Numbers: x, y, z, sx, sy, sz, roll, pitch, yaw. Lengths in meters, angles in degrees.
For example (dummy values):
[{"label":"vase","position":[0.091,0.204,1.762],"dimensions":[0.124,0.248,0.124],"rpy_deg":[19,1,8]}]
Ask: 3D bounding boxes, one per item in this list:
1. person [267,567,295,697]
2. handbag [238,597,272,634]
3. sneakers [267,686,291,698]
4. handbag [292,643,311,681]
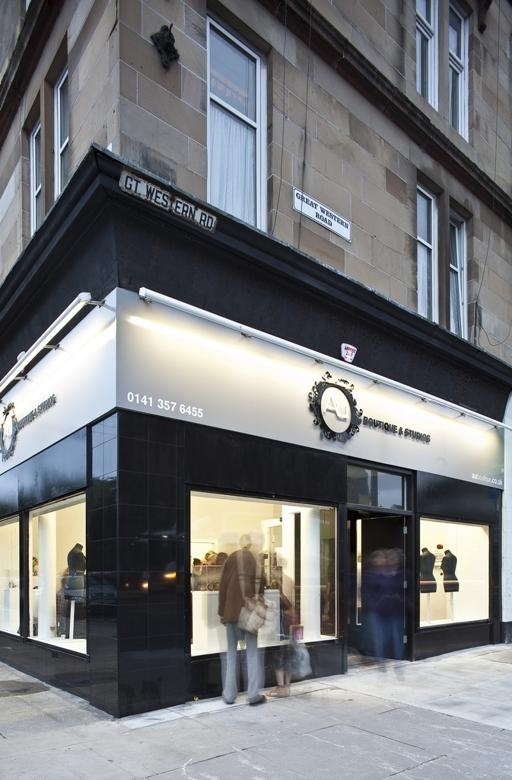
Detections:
[{"label":"person","position":[0.284,2.547,8.828],"dimensions":[0.248,1.028,0.969],"rpy_deg":[1,-5,2]},{"label":"handbag","position":[-0.021,2.143,8.081],"dimensions":[0.212,0.303,0.147],"rpy_deg":[30,-41,-19]},{"label":"sneakers","position":[0.236,3.002,8.401],"dimensions":[0.230,0.138,0.095],"rpy_deg":[-1,-17,23]},{"label":"handbag","position":[0.489,2.879,8.941],"dimensions":[0.185,0.409,0.542],"rpy_deg":[1,-5,4]}]
